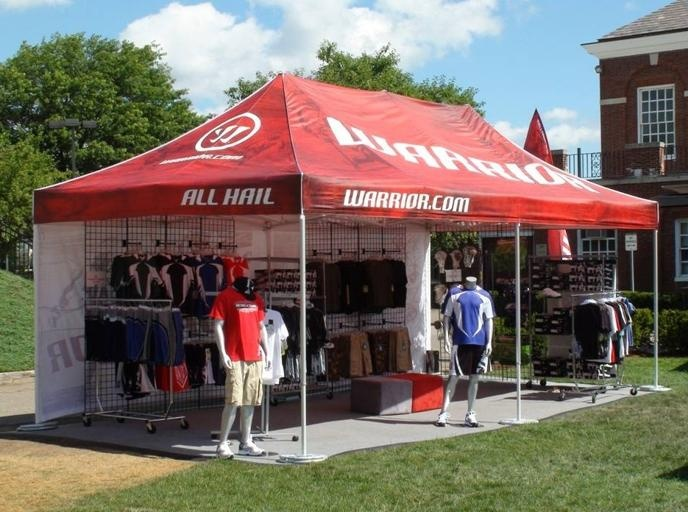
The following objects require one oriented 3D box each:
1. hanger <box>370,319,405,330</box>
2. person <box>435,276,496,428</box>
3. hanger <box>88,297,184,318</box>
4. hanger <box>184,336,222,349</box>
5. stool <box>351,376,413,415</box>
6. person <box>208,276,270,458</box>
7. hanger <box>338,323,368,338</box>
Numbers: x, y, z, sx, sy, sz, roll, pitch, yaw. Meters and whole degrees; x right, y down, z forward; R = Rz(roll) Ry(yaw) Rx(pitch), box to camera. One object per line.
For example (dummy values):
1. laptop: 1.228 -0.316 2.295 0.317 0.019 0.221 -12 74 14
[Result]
1. hanger: 0.878 1.313 18.134 0.869 0.151 0.403 -3 5 -34
2. person: 1.894 1.478 14.906 0.864 2.266 0.775 0 4 8
3. hanger: -3.276 0.784 14.985 1.908 0.321 0.862 3 5 35
4. hanger: -2.297 1.405 15.496 0.404 0.104 0.405 -4 -5 41
5. stool: 0.695 2.318 15.757 1.545 0.698 0.679 3 -4 -40
6. person: -1.414 1.521 13.139 0.818 2.449 0.574 -2 5 -22
7. hanger: 0.149 1.363 17.650 0.502 0.164 0.779 0 4 0
